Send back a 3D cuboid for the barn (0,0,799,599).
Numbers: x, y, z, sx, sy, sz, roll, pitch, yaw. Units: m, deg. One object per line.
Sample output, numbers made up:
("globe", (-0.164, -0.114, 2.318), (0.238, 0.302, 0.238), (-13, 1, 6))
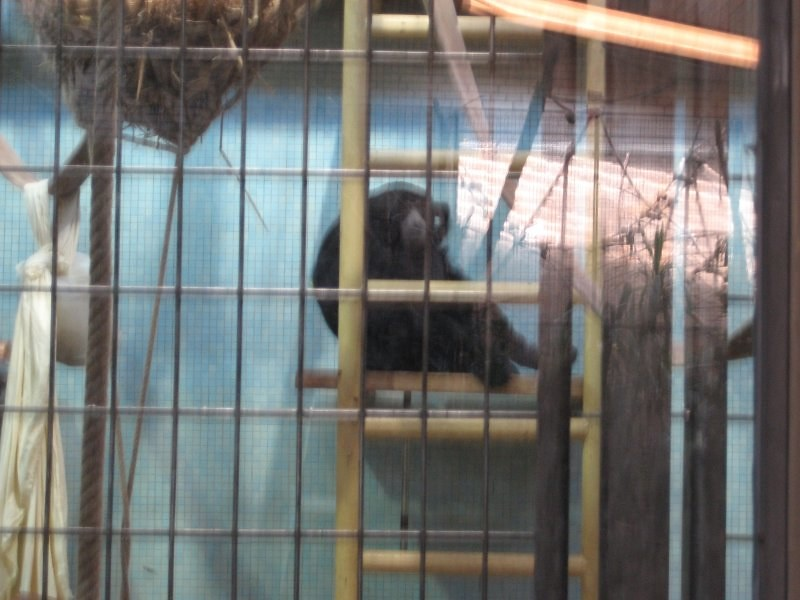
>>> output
("barn", (0.119, 0.017, 9.960), (3.022, 3.419, 1.865), (0, -4, 1))
